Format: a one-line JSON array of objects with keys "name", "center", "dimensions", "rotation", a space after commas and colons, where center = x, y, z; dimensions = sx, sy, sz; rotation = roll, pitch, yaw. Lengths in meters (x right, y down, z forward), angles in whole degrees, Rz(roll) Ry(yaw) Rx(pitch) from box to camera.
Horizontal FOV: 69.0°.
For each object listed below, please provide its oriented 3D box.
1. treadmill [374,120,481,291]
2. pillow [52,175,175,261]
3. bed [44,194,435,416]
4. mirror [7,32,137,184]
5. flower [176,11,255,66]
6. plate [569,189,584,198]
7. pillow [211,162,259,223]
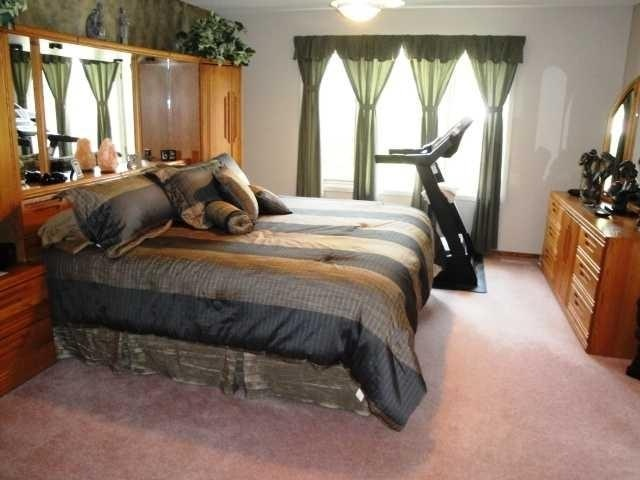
[{"name": "treadmill", "center": [1.202, -0.338, 5.185], "dimensions": [1.145, 1.816, 1.087], "rotation": [-5, 11, -3]}, {"name": "pillow", "center": [-1.486, -0.161, 3.417], "dimensions": [0.207, 0.556, 0.687], "rotation": [-39, -9, 39]}, {"name": "bed", "center": [-0.515, 0.269, 4.076], "dimensions": [2.858, 0.853, 2.613], "rotation": [3, 16, 19]}, {"name": "mirror", "center": [-2.050, -1.132, 3.828], "dimensions": [0.072, 1.014, 1.217], "rotation": [5, 9, 15]}, {"name": "flower", "center": [-1.174, -2.220, 5.162], "dimensions": [0.821, 0.511, 0.442], "rotation": [-2, 18, -14]}, {"name": "plate", "center": [2.777, -0.514, 5.052], "dimensions": [0.121, 0.040, 0.131], "rotation": [5, 22, 20]}, {"name": "pillow", "center": [-0.697, -0.417, 3.830], "dimensions": [0.128, 0.433, 0.429], "rotation": [-34, -26, 15]}]
